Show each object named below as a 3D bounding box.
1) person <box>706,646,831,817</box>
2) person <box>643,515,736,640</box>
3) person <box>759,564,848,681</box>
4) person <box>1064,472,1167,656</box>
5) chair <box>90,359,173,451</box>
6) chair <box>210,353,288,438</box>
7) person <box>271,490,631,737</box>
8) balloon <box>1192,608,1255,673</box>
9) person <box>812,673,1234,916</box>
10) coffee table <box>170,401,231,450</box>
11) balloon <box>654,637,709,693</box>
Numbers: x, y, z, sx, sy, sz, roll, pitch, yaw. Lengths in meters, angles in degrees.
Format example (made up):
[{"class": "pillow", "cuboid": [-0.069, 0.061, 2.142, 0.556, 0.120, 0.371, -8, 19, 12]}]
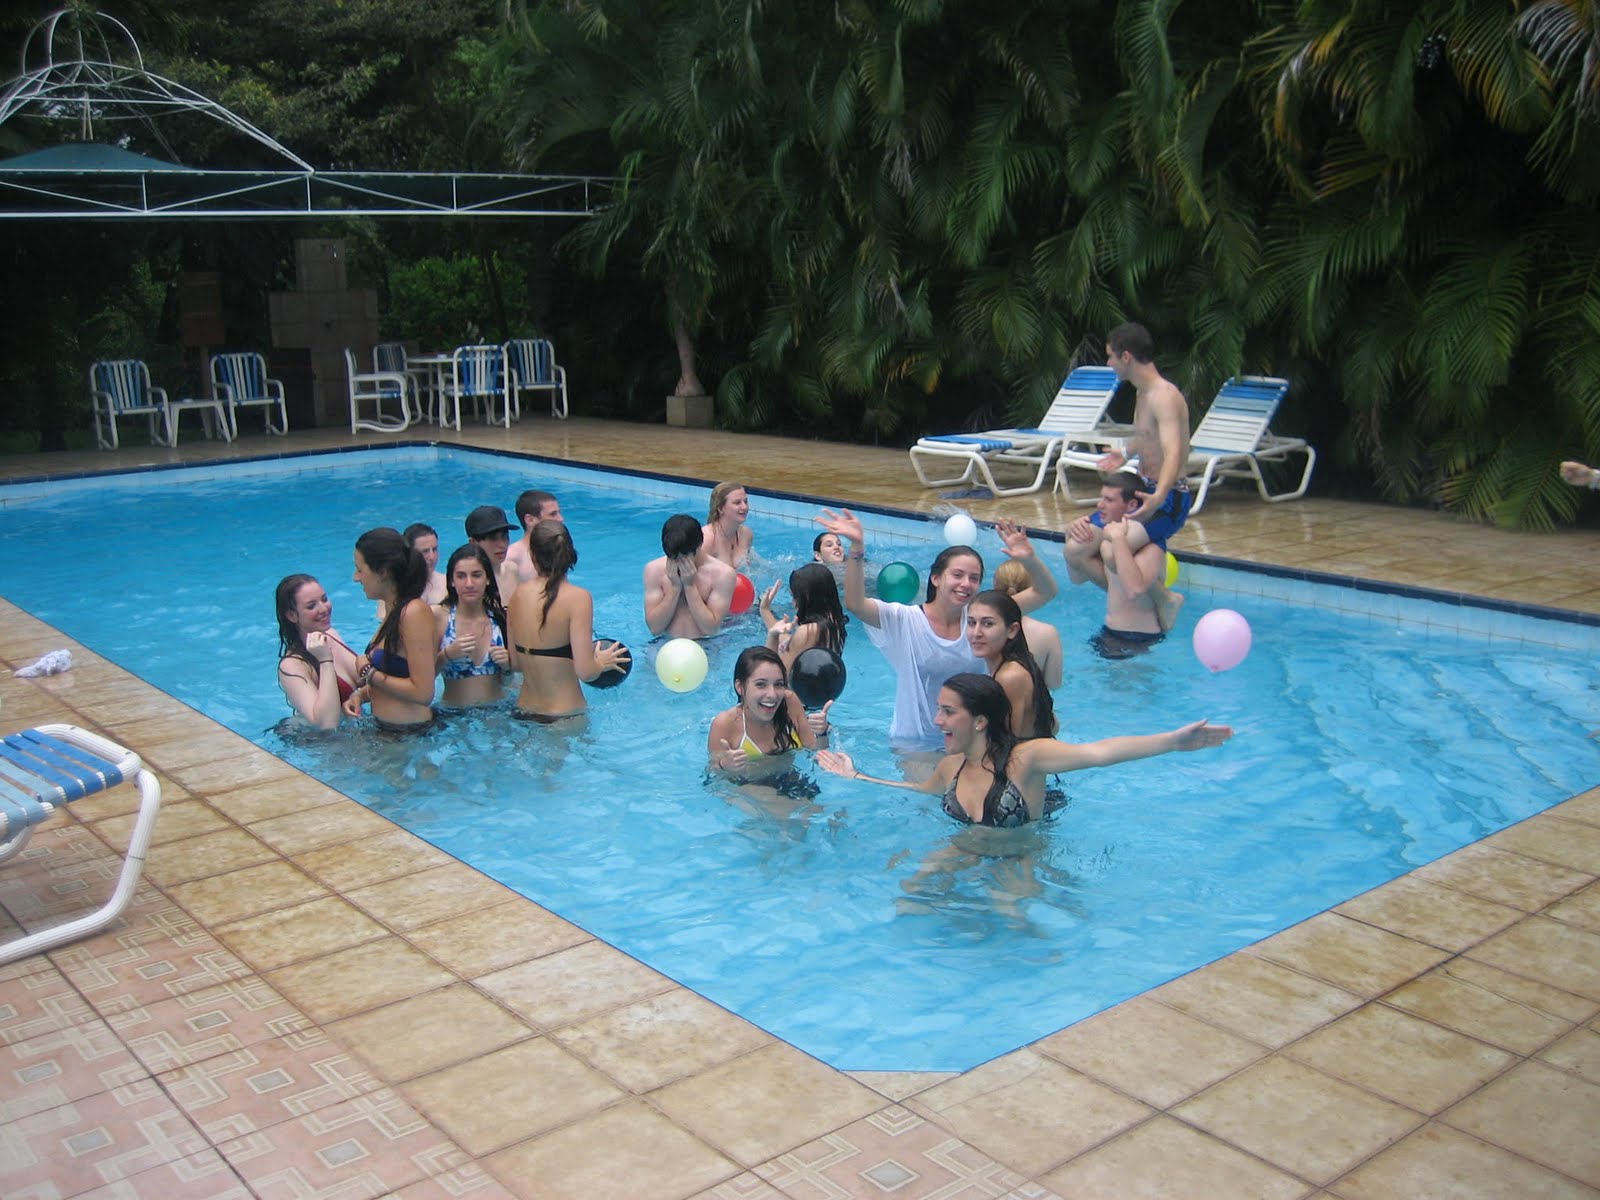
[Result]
[{"class": "person", "cuboid": [-0.174, 0.615, 5.961, 0.548, 0.865, 0.524, 1, 16, -3]}, {"class": "person", "cuboid": [-0.783, -0.101, 7.983, 0.515, 0.992, 0.654, 5, 16, 13]}, {"class": "person", "cuboid": [-0.043, 0.278, 6.948, 0.522, 0.960, 0.403, 5, 24, -1]}, {"class": "person", "cuboid": [2.151, -0.262, 8.285, 0.868, 1.226, 0.625, -2, 16, -12]}, {"class": "chair", "cuboid": [-9.296, -2.687, 16.899, 0.978, 1.130, 0.967, -12, 21, -41]}, {"class": "chair", "cuboid": [-8.210, -3.000, 18.006, 0.825, 1.165, 1.352, 5, 16, 12]}, {"class": "person", "cuboid": [-1.946, 0.158, 6.713, 1.771, 1.191, 0.793, -5, 17, -23]}, {"class": "balloon", "cuboid": [2.581, 0.265, 7.430, 0.347, 0.438, 0.358, -1, 3, 6]}, {"class": "person", "cuboid": [0.939, 0.773, 5.296, 1.087, 0.985, 0.876, 5, 16, 10]}, {"class": "coffee table", "cuboid": [-8.580, -2.506, 17.283, 0.772, 0.604, 0.774, -5, 17, -23]}, {"class": "balloon", "cuboid": [-0.714, 0.397, 6.944, 0.292, 0.369, 0.304, -3, -1, 24]}]
